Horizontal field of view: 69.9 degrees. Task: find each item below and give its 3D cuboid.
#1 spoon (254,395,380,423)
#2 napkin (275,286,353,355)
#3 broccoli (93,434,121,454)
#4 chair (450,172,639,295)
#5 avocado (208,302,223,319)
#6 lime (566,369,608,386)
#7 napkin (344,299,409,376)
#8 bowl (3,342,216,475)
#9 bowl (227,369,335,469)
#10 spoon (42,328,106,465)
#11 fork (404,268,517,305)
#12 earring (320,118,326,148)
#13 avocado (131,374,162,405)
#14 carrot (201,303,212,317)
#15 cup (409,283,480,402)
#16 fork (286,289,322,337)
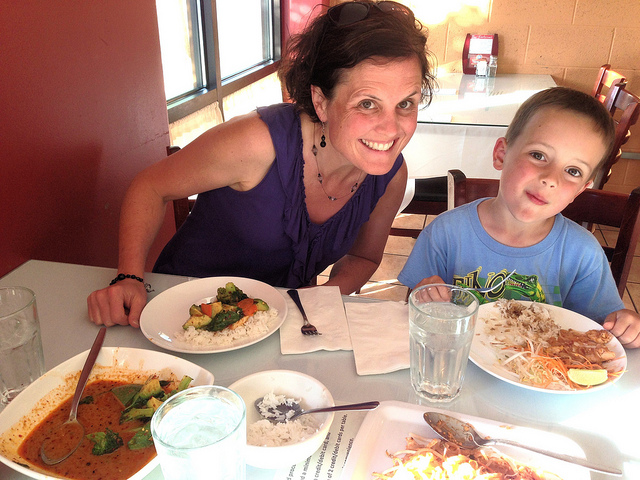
[{"bbox_3d":[-0.006,0.305,0.830,0.228,0.036,0.079,0,15,2],"label":"spoon"},{"bbox_3d":[-0.020,0.192,1.152,0.168,0.017,0.364,-6,17,-3],"label":"napkin"},{"bbox_3d":[-0.373,0.353,0.790,0.041,0.015,0.028,-23,34,-32],"label":"broccoli"},{"bbox_3d":[0.678,-0.013,1.422,0.249,0.461,0.318,5,40,12],"label":"chair"},{"bbox_3d":[-0.243,0.161,1.068,0.030,0.031,0.025,-2,-4,21],"label":"avocado"},{"bbox_3d":[0.544,0.275,0.923,0.052,0.018,0.037,-17,26,25],"label":"lime"},{"bbox_3d":[0.140,0.215,1.049,0.101,0.015,0.181,0,33,-1],"label":"napkin"},{"bbox_3d":[-0.415,0.275,0.848,0.234,0.058,0.283,18,31,13],"label":"bowl"},{"bbox_3d":[-0.081,0.283,0.821,0.142,0.063,0.153,-2,3,0],"label":"bowl"},{"bbox_3d":[-0.466,0.278,0.880,0.036,0.024,0.201,6,48,4],"label":"spoon"},{"bbox_3d":[0.397,0.127,1.246,0.199,0.030,0.022,-24,24,18],"label":"fork"},{"bbox_3d":[0.006,-0.335,1.484,0.019,0.070,0.036,-3,27,1],"label":"earring"},{"bbox_3d":[-0.335,0.289,0.875,0.061,0.039,0.024,-5,27,-4],"label":"avocado"},{"bbox_3d":[-0.269,0.165,1.079,0.027,0.017,0.021,34,30,23],"label":"carrot"},{"bbox_3d":[0.244,0.221,0.936,0.121,0.195,0.125,3,3,0],"label":"cup"},{"bbox_3d":[-0.040,0.183,1.167,0.034,0.026,0.216,-4,26,-12],"label":"fork"}]
